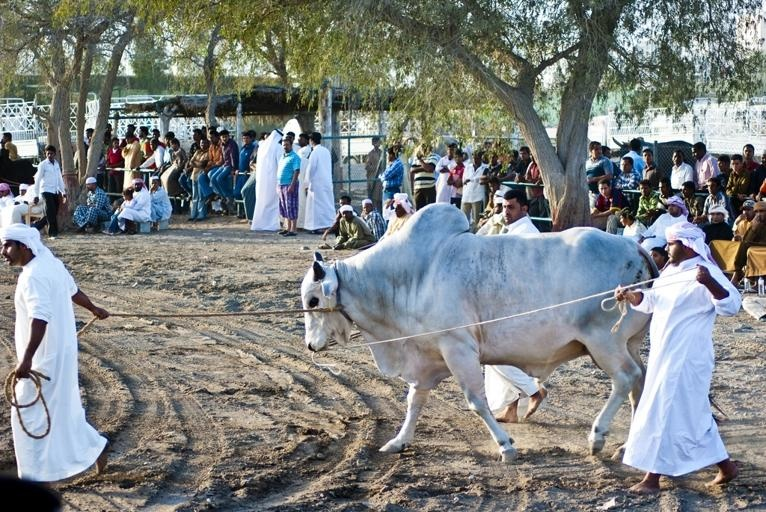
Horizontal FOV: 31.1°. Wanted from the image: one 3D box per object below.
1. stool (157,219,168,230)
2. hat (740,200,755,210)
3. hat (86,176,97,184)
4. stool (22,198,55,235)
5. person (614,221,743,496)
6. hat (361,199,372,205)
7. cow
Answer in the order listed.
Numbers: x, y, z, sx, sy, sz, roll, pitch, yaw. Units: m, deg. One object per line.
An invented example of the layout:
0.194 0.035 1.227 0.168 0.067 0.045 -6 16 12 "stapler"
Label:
-4.944 -0.696 30.861 0.246 0.243 0.180 -2 -10 -11 "stool"
6.394 -0.912 24.162 0.263 0.136 0.173 24 -19 -37 "hat"
-6.541 -1.692 30.833 0.181 0.103 0.176 -3 7 8 "hat"
-7.460 -0.868 29.598 0.442 0.576 0.437 -18 -23 12 "stool"
3.955 1.343 18.545 1.472 3.586 0.595 -1 3 9 "person"
-0.353 -1.048 27.334 0.162 0.165 0.213 1 10 4 "hat"
1.389 1.252 19.619 3.615 2.585 1.174 -2 0 11 "cow"
